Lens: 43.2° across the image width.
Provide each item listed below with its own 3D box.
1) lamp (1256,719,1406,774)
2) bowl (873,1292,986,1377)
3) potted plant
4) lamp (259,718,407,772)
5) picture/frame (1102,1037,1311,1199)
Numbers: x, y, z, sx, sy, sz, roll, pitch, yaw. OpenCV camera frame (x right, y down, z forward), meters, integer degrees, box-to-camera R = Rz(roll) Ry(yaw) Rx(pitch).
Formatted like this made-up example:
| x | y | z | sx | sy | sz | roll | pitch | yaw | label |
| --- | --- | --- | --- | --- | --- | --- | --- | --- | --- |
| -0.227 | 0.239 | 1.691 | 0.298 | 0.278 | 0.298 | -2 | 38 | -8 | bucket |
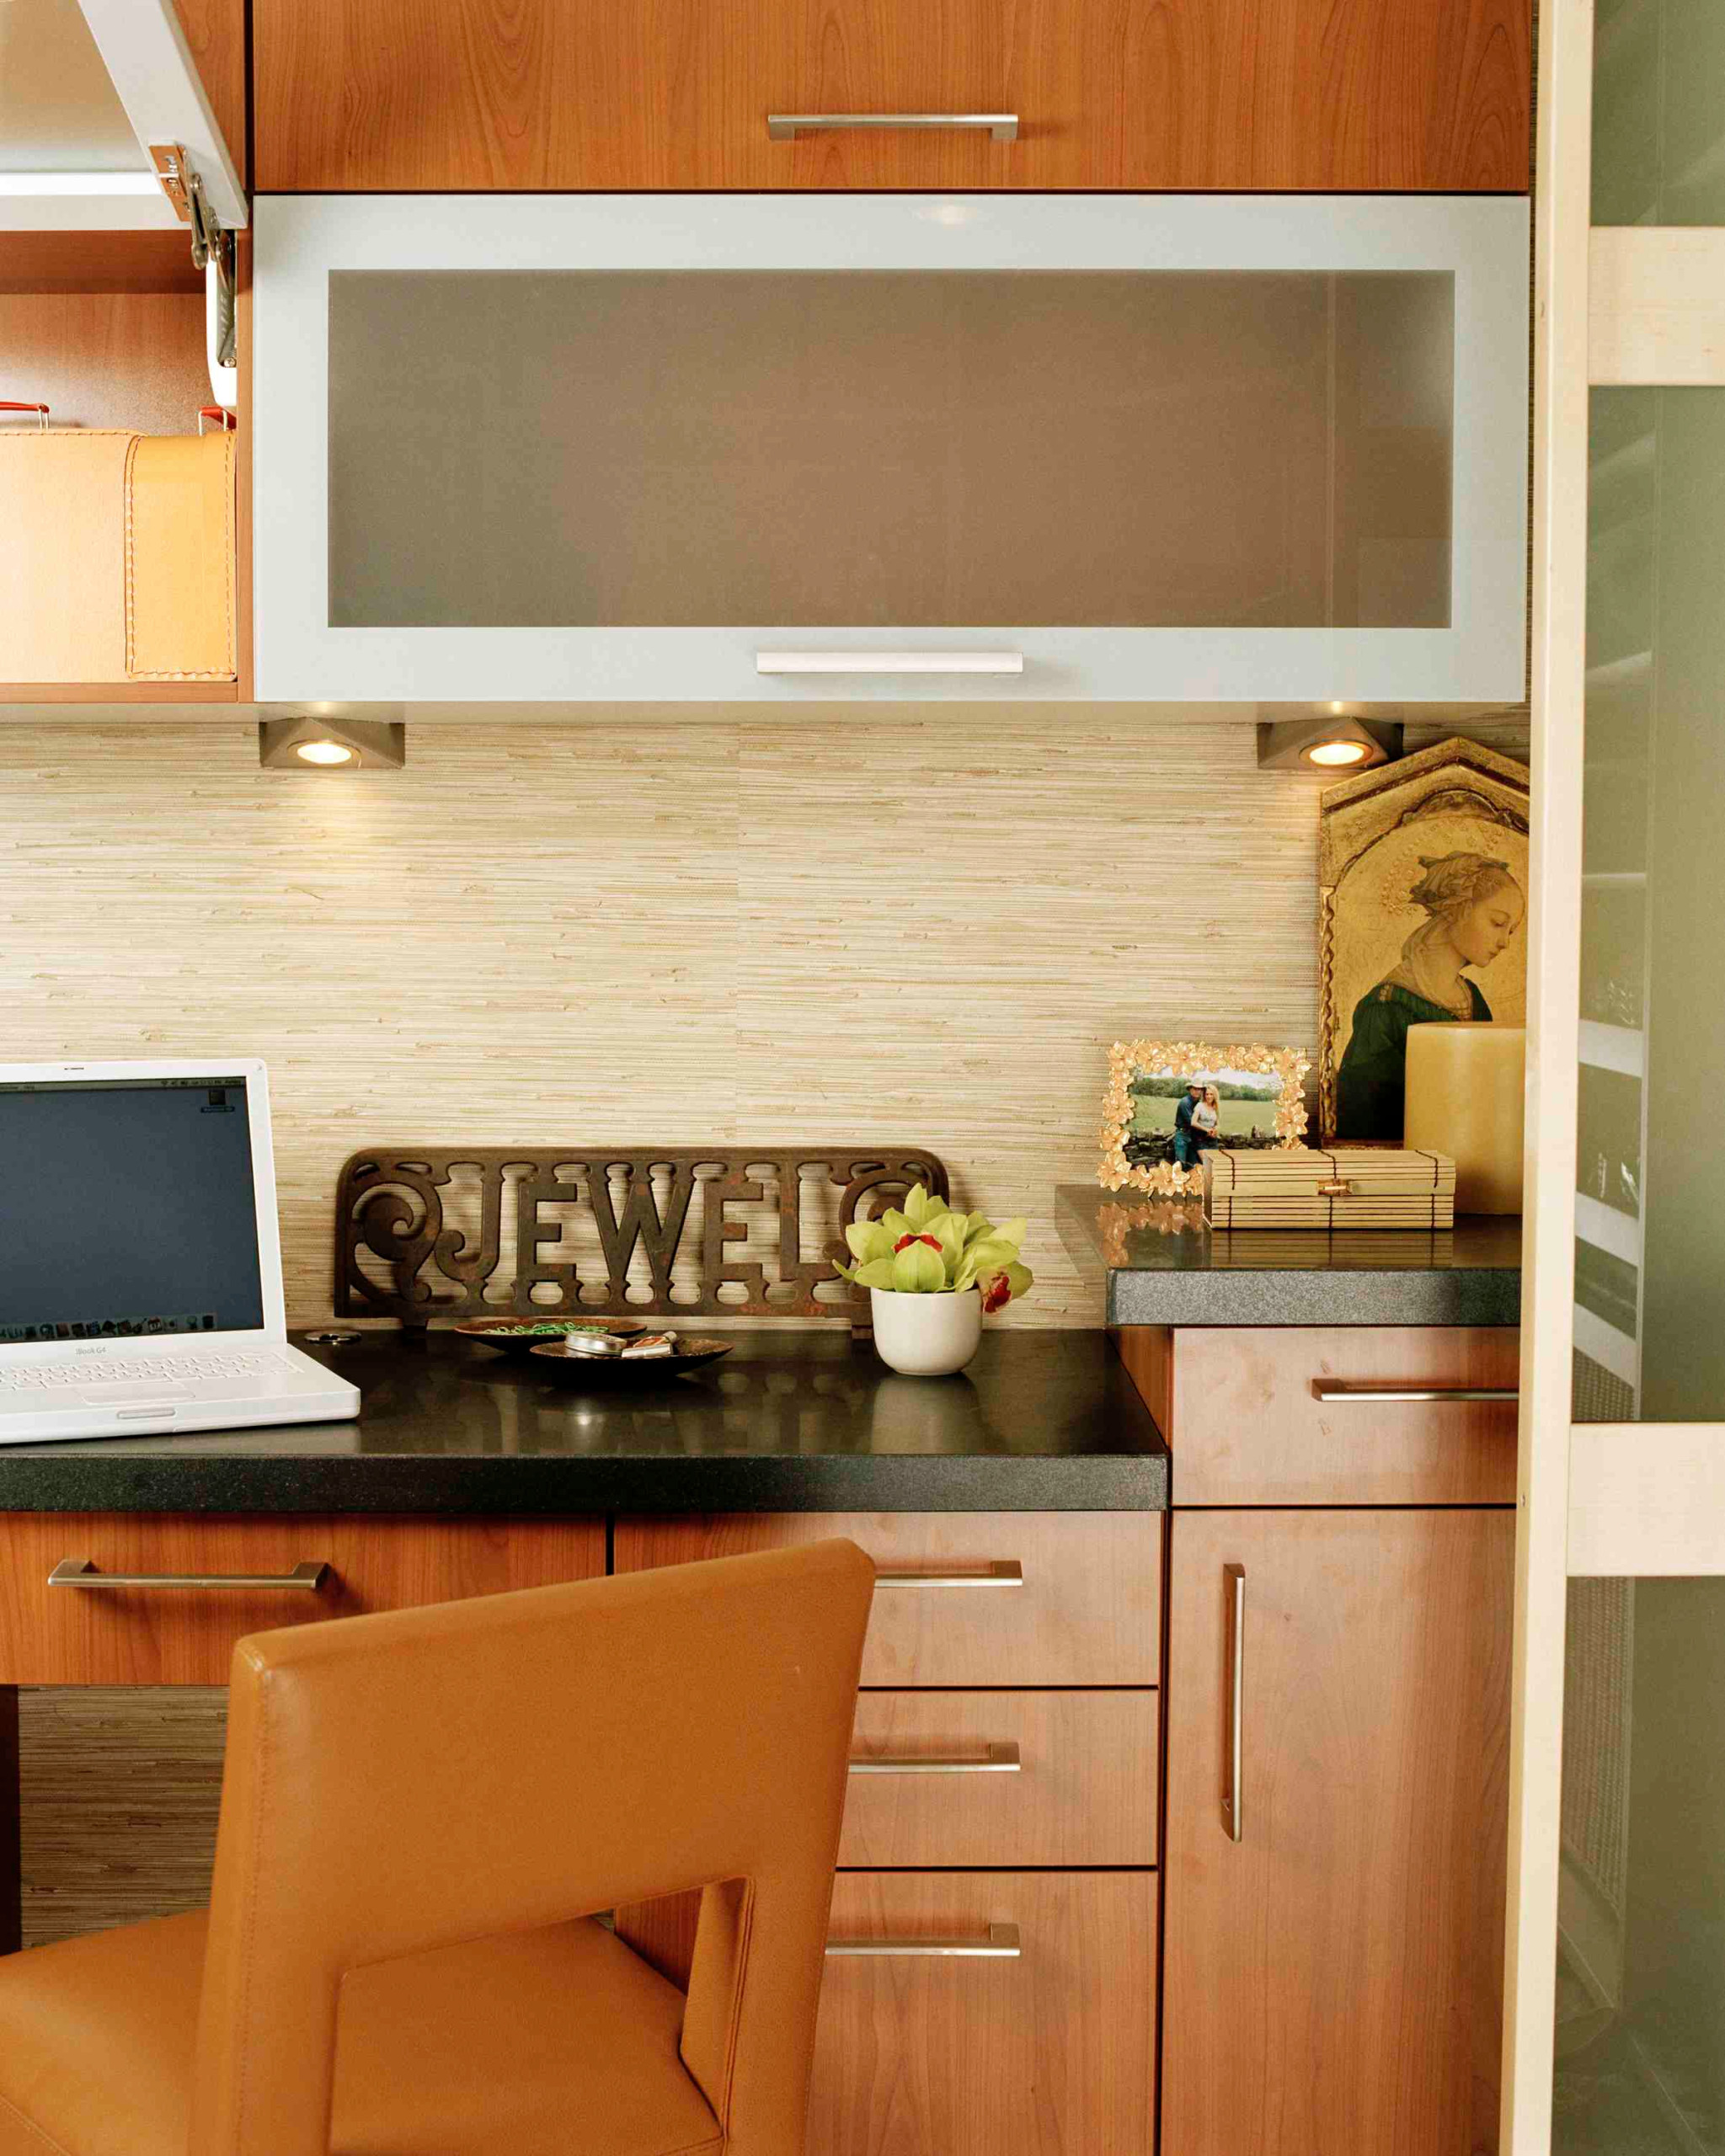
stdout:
| x | y | z | sx | sy | sz | roll | pitch | yaw | label |
| --- | --- | --- | --- | --- | --- | --- | --- | --- | --- |
| 0.450 | -0.321 | 2.105 | 0.145 | 0.047 | 0.127 | 1 | 3 | 15 | lamp |
| 0.056 | 0.229 | 1.933 | 0.080 | 0.059 | 0.079 | 0 | -4 | 0 | bowl |
| 0.064 | 0.185 | 2.021 | 0.164 | 0.159 | 0.165 | 0 | -3 | 27 | potted plant |
| -0.518 | -0.324 | 2.096 | 0.140 | 0.046 | 0.138 | 0 | 3 | -8 | lamp |
| 0.327 | 0.044 | 2.077 | 0.142 | 0.138 | 0.021 | 1 | -2 | 8 | picture/frame |
